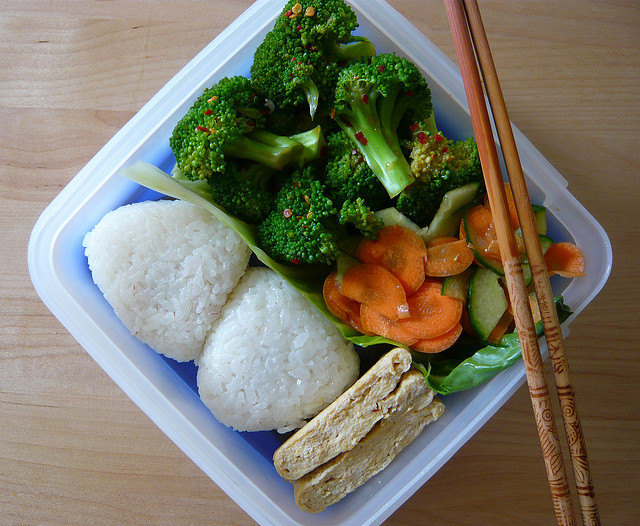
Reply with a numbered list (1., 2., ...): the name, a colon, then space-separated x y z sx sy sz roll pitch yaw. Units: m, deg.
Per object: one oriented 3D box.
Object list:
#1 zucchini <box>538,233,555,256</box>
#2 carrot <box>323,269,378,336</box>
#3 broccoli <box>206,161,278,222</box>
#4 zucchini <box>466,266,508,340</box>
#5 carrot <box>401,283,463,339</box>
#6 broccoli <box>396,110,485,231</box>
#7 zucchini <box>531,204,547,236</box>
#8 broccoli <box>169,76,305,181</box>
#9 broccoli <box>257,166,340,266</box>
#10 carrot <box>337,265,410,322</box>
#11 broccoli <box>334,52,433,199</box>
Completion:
1. zucchini: 0.698 -0.063 2.272 0.055 0.015 0.063 -3 82 -17
2. carrot: 0.076 0.133 2.321 0.200 0.045 0.160 30 44 -23
3. broccoli: -0.244 -0.232 2.251 0.180 0.073 0.174 9 79 -2
4. zucchini: 0.514 0.114 2.289 0.179 0.040 0.195 -37 95 -18
5. carrot: 0.345 0.154 2.290 0.158 0.050 0.181 44 85 5
6. broccoli: 0.358 -0.284 2.350 0.182 0.311 0.344 -6 120 -8
7. zucchini: 0.693 -0.137 2.306 0.022 0.079 0.090 -2 94 37
8. broccoli: -0.244 -0.389 2.230 0.345 0.184 0.327 19 98 -7
9. broccoli: -0.053 -0.128 2.257 0.222 0.146 0.302 12 98 36
10. carrot: 0.177 0.081 2.326 0.236 0.060 0.132 42 92 4
11. broccoli: 0.219 -0.450 2.249 0.288 0.182 0.398 -35 84 -3
